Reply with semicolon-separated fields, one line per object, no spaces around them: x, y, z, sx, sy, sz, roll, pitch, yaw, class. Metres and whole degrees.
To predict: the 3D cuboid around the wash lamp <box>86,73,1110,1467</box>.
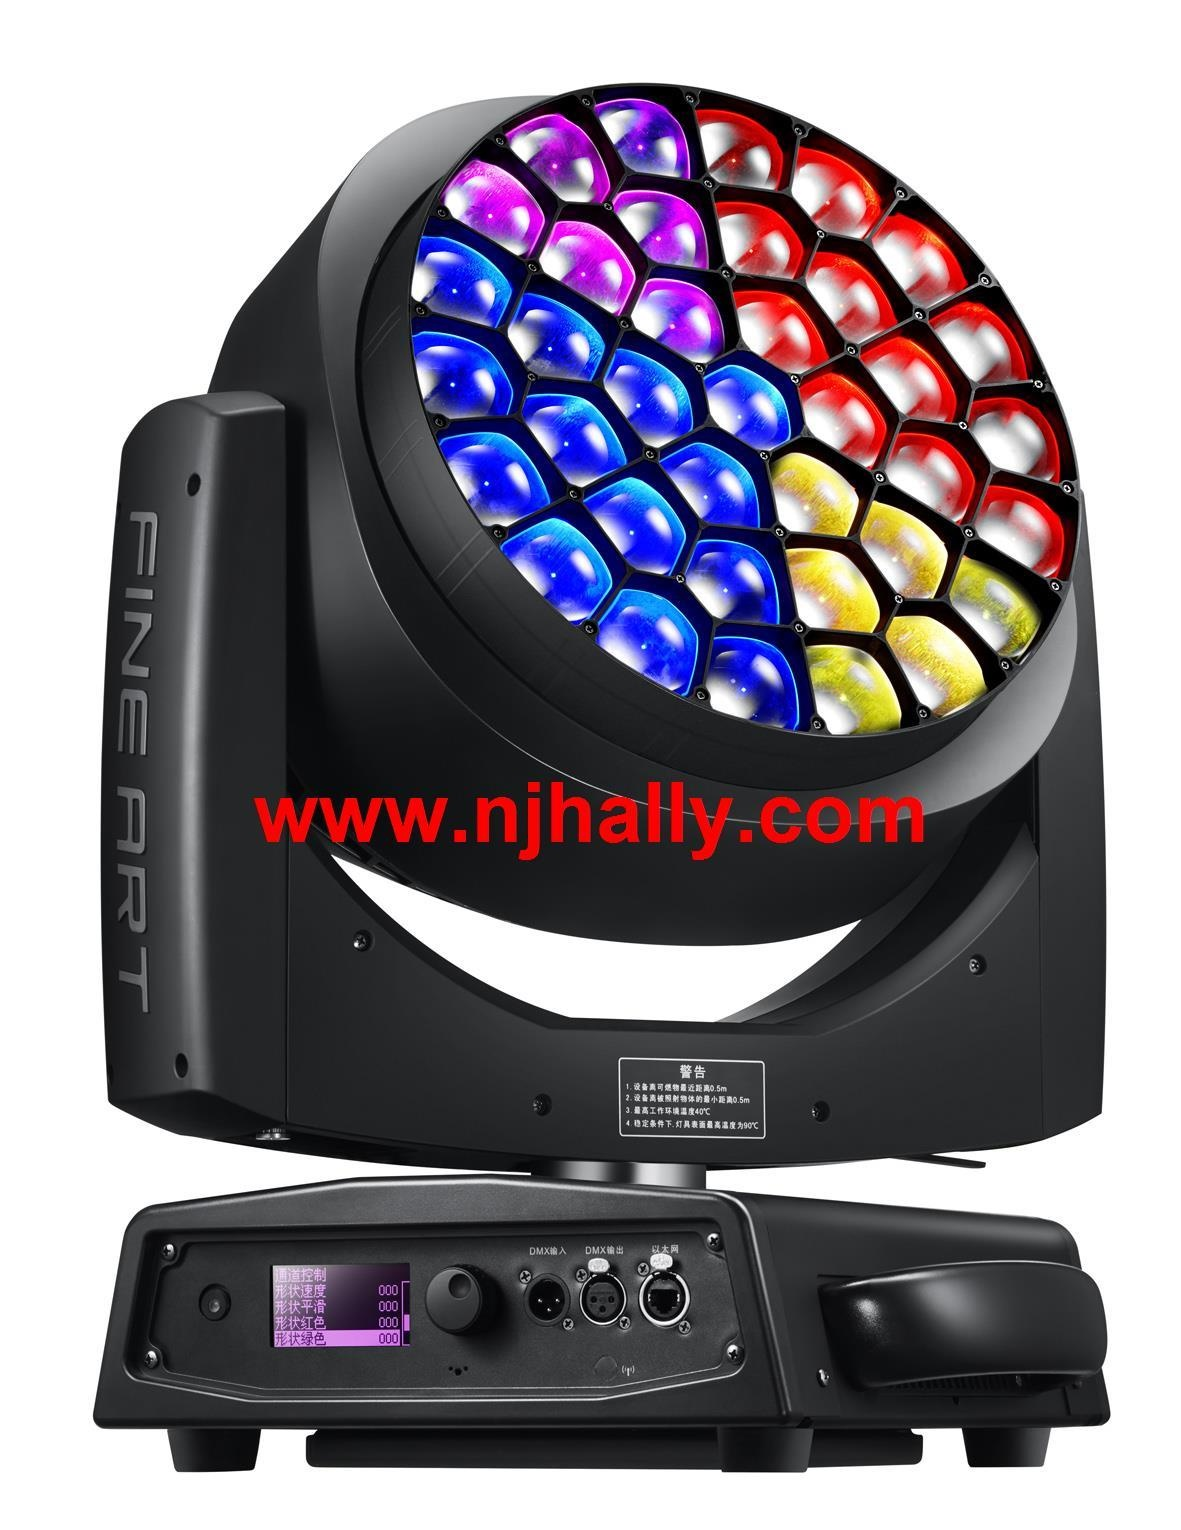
0.072;0.028;1.136;0.746;0.938;0.542;4;-4;-13;wash lamp
